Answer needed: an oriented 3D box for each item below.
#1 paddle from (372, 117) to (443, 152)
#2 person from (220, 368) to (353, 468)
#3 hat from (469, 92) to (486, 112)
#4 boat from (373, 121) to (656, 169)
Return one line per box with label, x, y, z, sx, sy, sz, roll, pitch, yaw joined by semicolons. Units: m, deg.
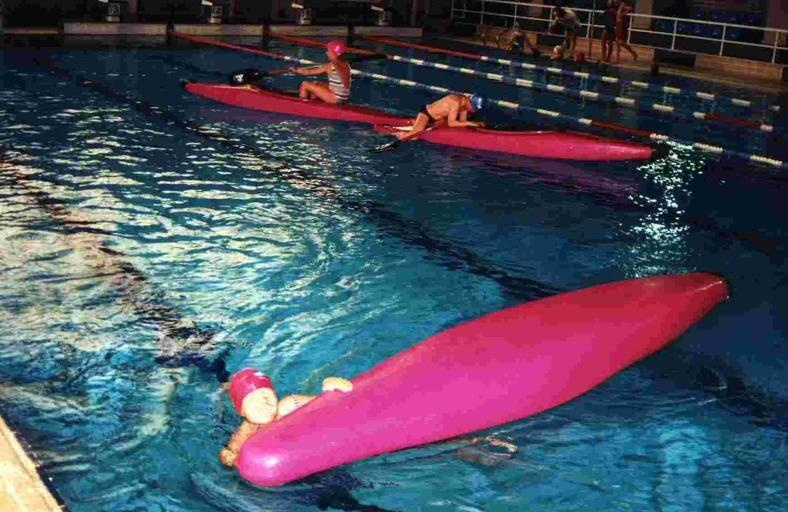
paddle;0.307;-1.818;10.098;0.365;0.133;1.753;16;26;32
person;-0.841;1.101;4.590;0.987;0.218;0.835;-18;18;-24
hat;1.203;-2.225;9.729;0.213;0.218;0.212;11;16;-5
boat;0.986;-1.607;9.873;6.035;0.324;0.746;4;24;8
